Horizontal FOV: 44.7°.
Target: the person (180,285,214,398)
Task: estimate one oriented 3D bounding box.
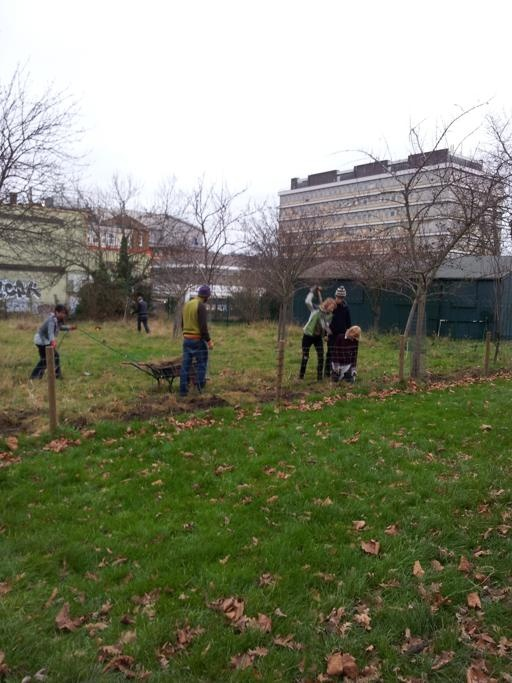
[{"bbox_3d":[-0.933,-0.027,9.583,0.447,1.706,0.941,2,3,-7],"label":"person"}]

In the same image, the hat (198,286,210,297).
[{"bbox_3d":[-0.803,-0.791,9.624,0.134,0.184,0.174,7,24,-1],"label":"hat"}]

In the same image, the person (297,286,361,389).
[{"bbox_3d":[1.211,-0.142,10.932,0.854,1.694,1.483,3,3,4],"label":"person"}]

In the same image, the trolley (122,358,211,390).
[{"bbox_3d":[-1.540,0.502,9.965,0.950,0.548,0.607,-8,12,-35],"label":"trolley"}]
